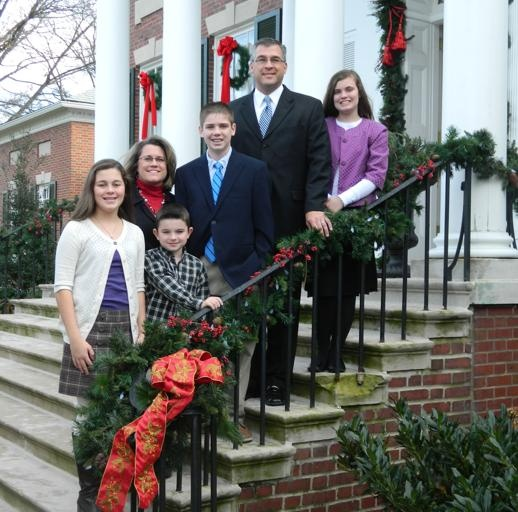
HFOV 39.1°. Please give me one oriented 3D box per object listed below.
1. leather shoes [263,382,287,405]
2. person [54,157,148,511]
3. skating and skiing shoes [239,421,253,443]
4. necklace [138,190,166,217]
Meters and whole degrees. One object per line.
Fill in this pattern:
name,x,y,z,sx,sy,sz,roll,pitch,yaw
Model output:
leather shoes,0.096,0.775,4.120,0.095,0.121,0.101,-1,-6,18
person,-0.778,0.090,3.628,0.468,1.146,0.299,-3,3,-25
skating and skiing shoes,-0.076,0.923,3.870,0.065,0.061,0.144,0,-4,-19
necklace,-0.592,-0.320,4.075,0.121,0.181,0.066,-6,-8,-40
